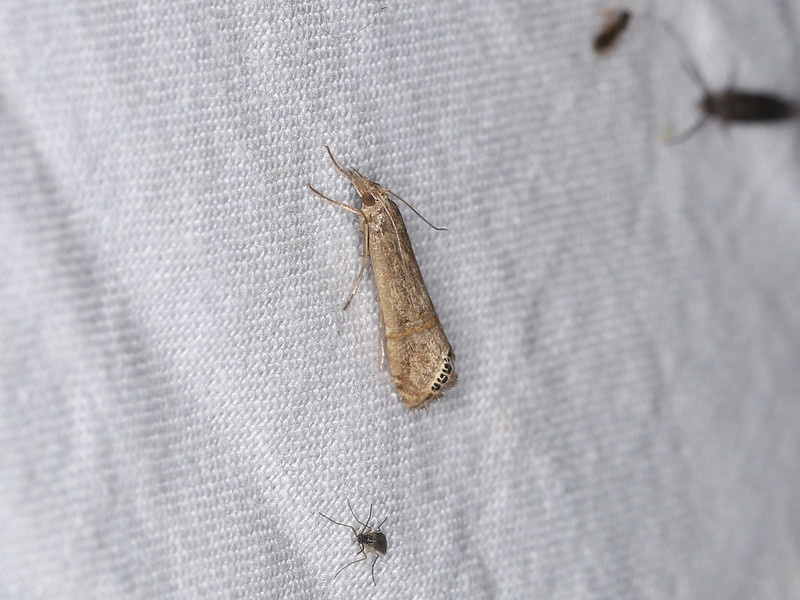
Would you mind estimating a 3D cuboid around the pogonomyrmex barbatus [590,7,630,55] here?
[{"bbox_3d":[0.432,-0.554,2.736,0.062,0.024,0.103,26,99,-2],"label":"pogonomyrmex barbatus"}]

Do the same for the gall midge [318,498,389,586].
[{"bbox_3d":[-0.083,0.476,2.708,0.134,0.042,0.160,-14,87,5],"label":"gall midge"}]
